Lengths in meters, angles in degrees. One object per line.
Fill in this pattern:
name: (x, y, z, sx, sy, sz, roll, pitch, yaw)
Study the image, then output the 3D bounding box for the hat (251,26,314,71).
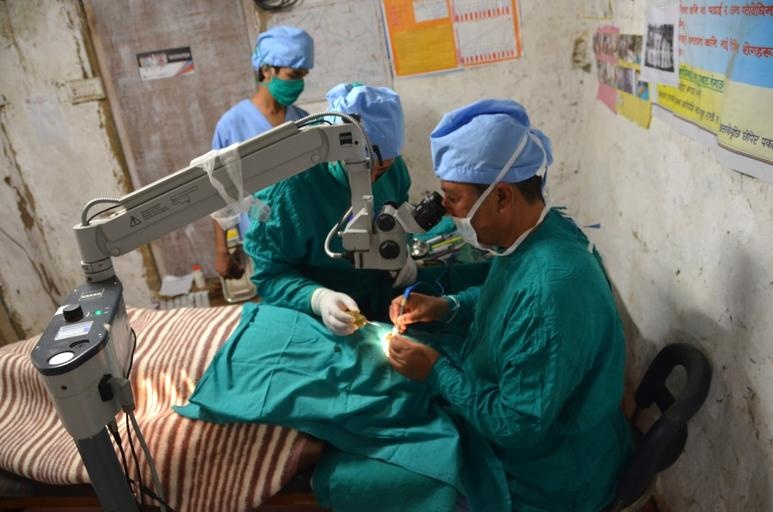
hat: (-0.625, -1.199, 3.568, 0.370, 0.247, 0.196, -6, 23, -2)

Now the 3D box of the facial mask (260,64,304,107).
facial mask: (-0.582, -0.995, 3.533, 0.204, 0.138, 0.238, 6, -7, 32)

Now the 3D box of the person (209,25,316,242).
person: (-0.814, -0.721, 3.899, 0.529, 1.348, 0.595, 0, 21, -15)

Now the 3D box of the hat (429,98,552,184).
hat: (0.404, -0.438, 2.439, 0.428, 0.273, 0.306, -6, 25, -4)

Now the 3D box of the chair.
chair: (1.127, 0.616, 2.500, 0.362, 0.712, 0.402, 11, -17, -40)

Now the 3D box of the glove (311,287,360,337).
glove: (-0.238, 0.240, 2.704, 0.185, 0.208, 0.218, -13, 17, -36)
